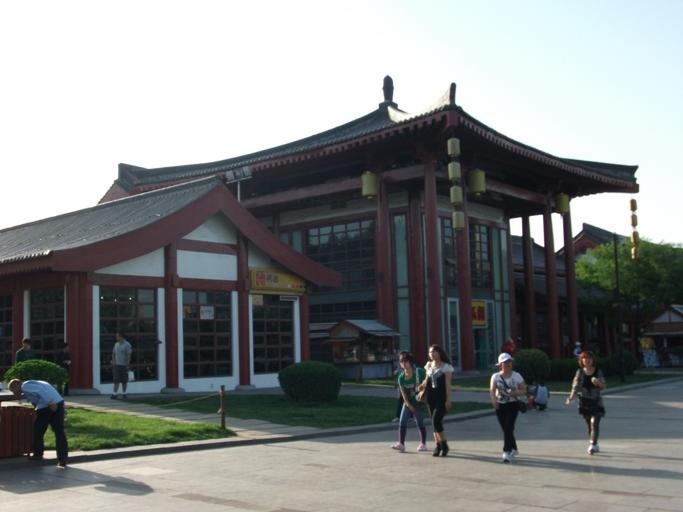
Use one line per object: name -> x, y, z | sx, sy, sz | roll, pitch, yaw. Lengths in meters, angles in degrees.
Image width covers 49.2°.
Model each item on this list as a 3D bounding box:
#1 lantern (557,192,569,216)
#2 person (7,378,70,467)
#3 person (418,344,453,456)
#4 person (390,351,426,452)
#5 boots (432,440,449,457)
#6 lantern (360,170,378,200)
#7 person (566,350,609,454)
lantern -> 14.135, -3.385, 47.655 | 0.769, 1.342, 0.452 | 6, -13, -31
person -> -6.085, 3.381, 15.034 | 1.177, 1.731, 0.573 | 0, -11, -4
person -> 2.004, 3.080, 15.944 | 0.729, 2.317, 0.669 | -2, -11, 5
person -> 1.524, 3.212, 16.501 | 0.851, 2.098, 0.758 | 1, -3, 35
boots -> 1.985, 4.035, 15.673 | 0.508, 0.344, 0.179 | 0, -3, 22
lantern -> 1.458, -3.829, 38.878 | 0.841, 1.283, 0.574 | 1, -12, -12
person -> 5.197, 3.099, 16.161 | 0.787, 2.250, 1.067 | -3, -4, 43
